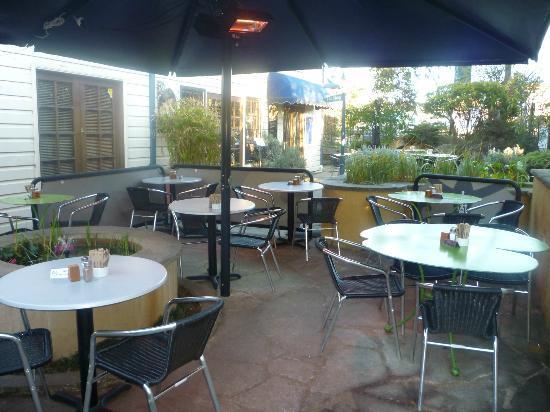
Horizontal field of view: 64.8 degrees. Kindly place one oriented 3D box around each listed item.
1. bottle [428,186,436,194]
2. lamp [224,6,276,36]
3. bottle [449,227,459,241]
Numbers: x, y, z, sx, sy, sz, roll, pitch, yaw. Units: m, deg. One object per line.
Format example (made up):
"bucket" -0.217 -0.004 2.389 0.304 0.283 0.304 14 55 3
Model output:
"bottle" 1.999 -0.202 5.468 0.075 0.089 0.150 2 1 24
"lamp" -0.237 -1.719 4.011 0.426 0.170 0.444 0 10 0
"bottle" 1.468 0.235 3.554 0.077 0.168 0.084 0 1 0
